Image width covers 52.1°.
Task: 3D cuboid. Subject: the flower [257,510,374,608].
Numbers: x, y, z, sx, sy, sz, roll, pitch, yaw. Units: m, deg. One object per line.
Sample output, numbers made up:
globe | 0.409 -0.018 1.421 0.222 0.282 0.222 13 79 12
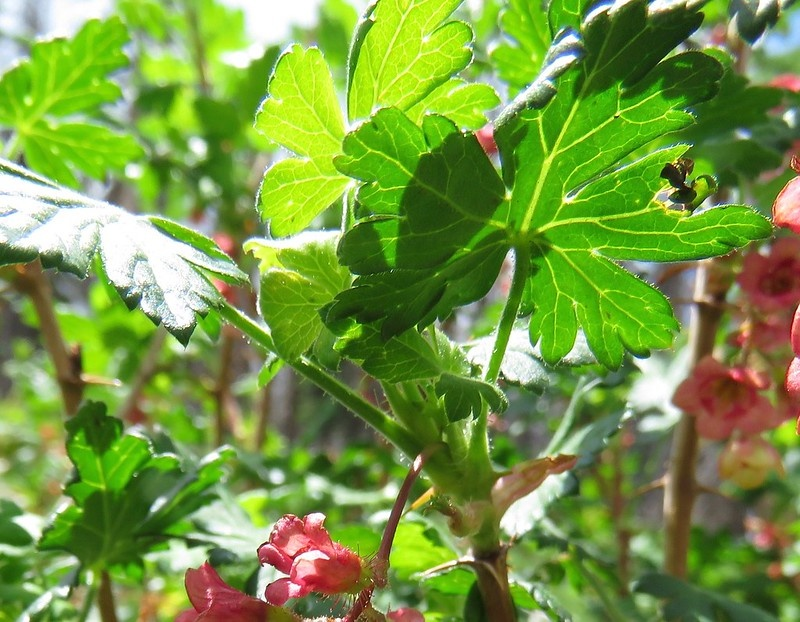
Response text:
flower | -0.117 0.261 0.920 0.102 0.051 0.110 -24 6 29

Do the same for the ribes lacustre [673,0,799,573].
ribes lacustre | 0.604 -0.170 1.473 0.075 1.227 0.103 13 -15 -1
